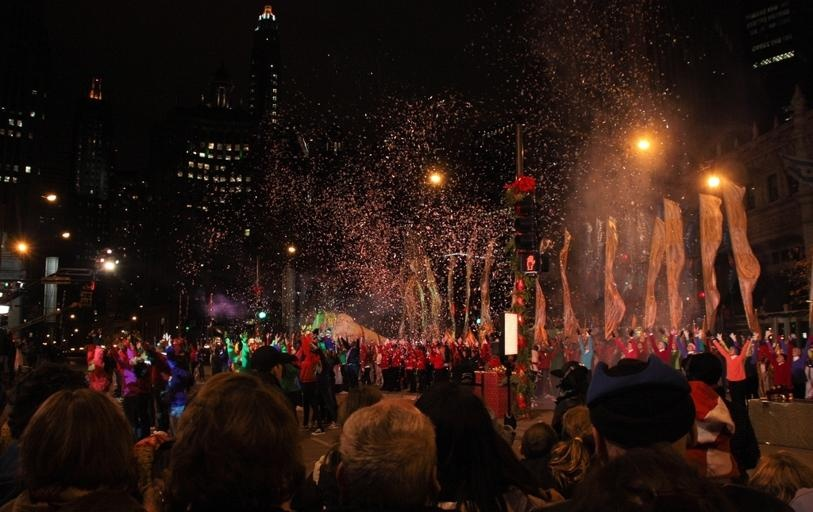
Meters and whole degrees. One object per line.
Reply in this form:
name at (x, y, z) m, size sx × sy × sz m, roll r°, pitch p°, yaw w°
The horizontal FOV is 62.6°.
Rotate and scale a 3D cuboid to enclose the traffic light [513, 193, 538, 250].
traffic light at (3.947, -1.082, 22.251) m, size 0.807 × 1.953 × 0.588 m, roll -2°, pitch -12°, yaw -6°
